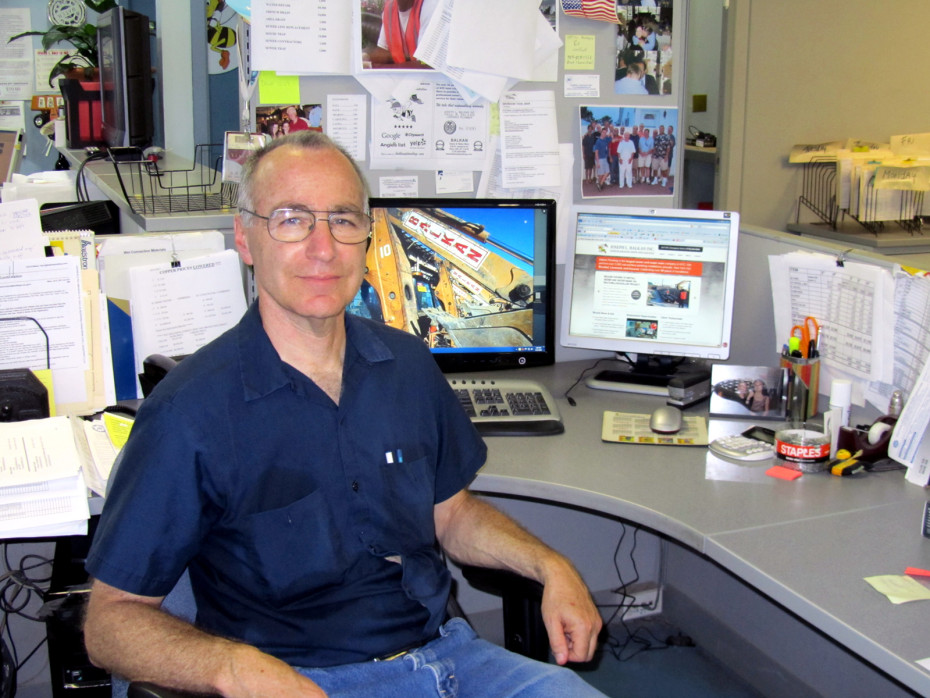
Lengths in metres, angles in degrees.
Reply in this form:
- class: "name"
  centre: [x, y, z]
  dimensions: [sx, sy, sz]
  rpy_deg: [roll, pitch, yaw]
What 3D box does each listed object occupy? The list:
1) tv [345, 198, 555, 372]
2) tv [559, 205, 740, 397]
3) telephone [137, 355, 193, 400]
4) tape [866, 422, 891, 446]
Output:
- class: "tv"
  centre: [-0.056, -0.198, 2.029]
  dimensions: [0.469, 0.369, 0.034]
  rpy_deg: [-1, 8, -9]
- class: "tv"
  centre: [0.552, -0.144, 2.149]
  dimensions: [0.446, 0.487, 0.252]
  rpy_deg: [4, 18, 12]
- class: "telephone"
  centre: [-0.611, 0.056, 1.480]
  dimensions: [0.075, 0.081, 0.076]
  rpy_deg: [-17, 28, -38]
- class: "tape"
  centre: [0.959, 0.198, 1.690]
  dimensions: [0.035, 0.036, 0.012]
  rpy_deg: [-29, 31, -25]
